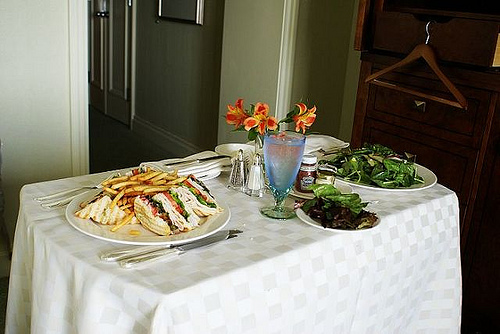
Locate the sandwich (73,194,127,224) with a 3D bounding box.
[{"bbox_3d":[-0.366,0.107,0.814,0.110,0.064,0.047,-10,13,-29],"label":"sandwich"}]

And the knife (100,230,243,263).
[{"bbox_3d":[-0.175,0.179,0.736,0.324,0.013,0.036,-12,8,1],"label":"knife"}]

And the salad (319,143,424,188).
[{"bbox_3d":[0.448,-0.042,1.192,0.339,0.144,0.307,1,16,26],"label":"salad"}]

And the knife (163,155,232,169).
[{"bbox_3d":[-0.170,-0.016,1.124,0.224,0.016,0.025,-11,31,-34],"label":"knife"}]

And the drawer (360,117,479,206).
[{"bbox_3d":[1.052,-0.141,1.871,0.561,0.392,0.591,-13,22,-30],"label":"drawer"}]

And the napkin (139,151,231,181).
[{"bbox_3d":[-0.184,-0.047,1.099,0.168,0.044,0.134,-2,15,-16],"label":"napkin"}]

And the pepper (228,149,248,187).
[{"bbox_3d":[-0.031,0.007,1.084,0.061,0.128,0.073,11,24,19],"label":"pepper"}]

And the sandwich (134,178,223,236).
[{"bbox_3d":[-0.180,0.098,0.817,0.118,0.079,0.166,16,36,37],"label":"sandwich"}]

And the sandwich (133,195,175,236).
[{"bbox_3d":[-0.228,0.108,0.809,0.122,0.037,0.074,40,46,25],"label":"sandwich"}]

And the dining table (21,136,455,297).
[{"bbox_3d":[-0.037,0.054,1.017,1.130,0.217,0.627,-11,13,-30],"label":"dining table"}]

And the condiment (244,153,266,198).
[{"bbox_3d":[0.014,0.031,1.048,0.087,0.151,0.087,10,25,13],"label":"condiment"}]

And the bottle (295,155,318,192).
[{"bbox_3d":[0.185,0.050,1.053,0.078,0.076,0.132,3,57,14],"label":"bottle"}]

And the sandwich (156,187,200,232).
[{"bbox_3d":[-0.185,0.103,0.830,0.071,0.036,0.110,-27,76,-46],"label":"sandwich"}]

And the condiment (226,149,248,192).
[{"bbox_3d":[-0.038,0.010,1.081,0.070,0.127,0.061,10,17,15],"label":"condiment"}]

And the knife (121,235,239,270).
[{"bbox_3d":[-0.168,0.191,0.742,0.251,0.014,0.032,-9,26,-37],"label":"knife"}]
